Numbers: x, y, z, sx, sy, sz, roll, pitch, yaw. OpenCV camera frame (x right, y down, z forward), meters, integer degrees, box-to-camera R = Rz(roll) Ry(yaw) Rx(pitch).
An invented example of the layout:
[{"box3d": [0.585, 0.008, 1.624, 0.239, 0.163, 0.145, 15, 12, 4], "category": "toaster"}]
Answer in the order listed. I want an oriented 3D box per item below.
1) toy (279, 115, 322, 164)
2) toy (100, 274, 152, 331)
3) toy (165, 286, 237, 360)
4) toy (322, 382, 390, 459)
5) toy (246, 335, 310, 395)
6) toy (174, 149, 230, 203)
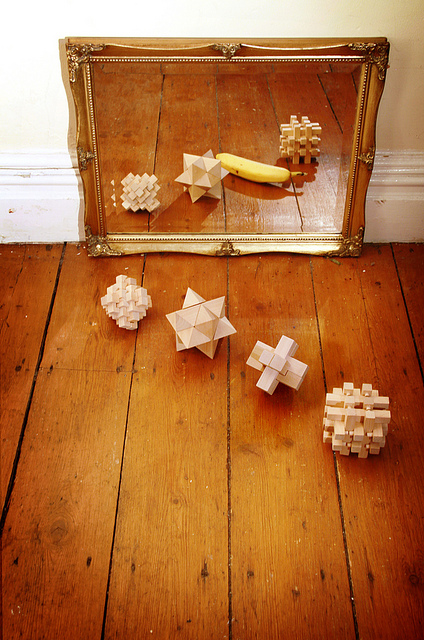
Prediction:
[{"box3d": [0.234, -0.475, 1.297, 0.087, 0.103, 0.104, -3, 39, -2], "category": "toy"}, {"box3d": [-0.213, -0.025, 1.230, 0.113, 0.164, 0.128, -4, -13, -12], "category": "toy"}, {"box3d": [-0.016, 0.018, 1.156, 0.156, 0.104, 0.169, 21, 42, 41], "category": "toy"}, {"box3d": [0.303, 0.211, 1.022, 0.117, 0.120, 0.140, 15, 34, 32], "category": "toy"}, {"box3d": [0.152, 0.080, 1.106, 0.117, 0.135, 0.107, 28, 7, 7], "category": "toy"}, {"box3d": [-0.022, -0.385, 1.372, 0.078, 0.088, 0.073, -1, -6, -40], "category": "toy"}]
